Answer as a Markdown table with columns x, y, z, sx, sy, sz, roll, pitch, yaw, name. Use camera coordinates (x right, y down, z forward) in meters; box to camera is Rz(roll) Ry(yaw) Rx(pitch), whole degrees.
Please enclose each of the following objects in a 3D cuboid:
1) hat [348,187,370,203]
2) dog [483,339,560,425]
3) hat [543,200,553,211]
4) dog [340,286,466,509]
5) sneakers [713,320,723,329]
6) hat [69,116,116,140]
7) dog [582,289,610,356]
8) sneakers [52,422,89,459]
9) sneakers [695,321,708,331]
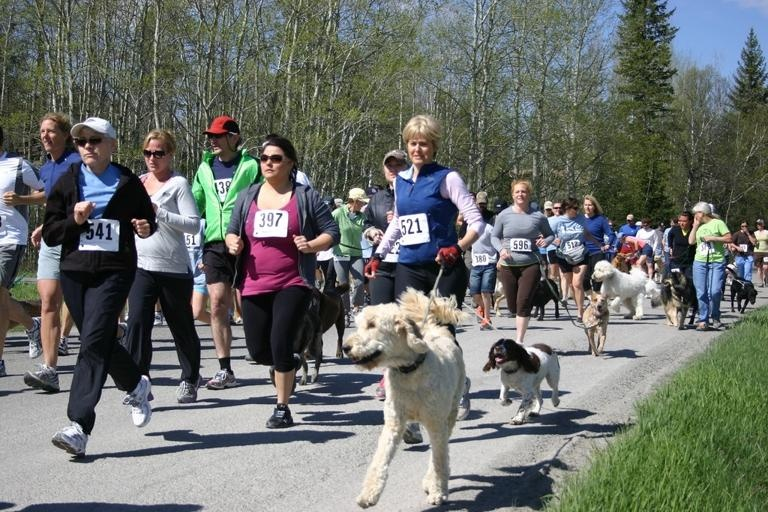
| x | y | z | sx | sy | sz | roll | pitch | yaw | name |
| --- | --- | --- | --- | --- | --- | --- | --- | --- | --- |
| -0.553 | -1.322 | 15.123 | 0.624 | 0.354 | 0.475 | 1 | 3 | 7 | hat |
| 1.726 | 1.491 | 8.377 | 0.607 | 1.010 | 1.465 | -3 | -4 | 41 | dog |
| 4.659 | -1.420 | 19.352 | 0.223 | 0.190 | 0.359 | -2 | 2 | 9 | hat |
| 0.241 | 1.229 | 6.038 | 0.734 | 1.735 | 1.398 | 2 | 5 | 26 | dog |
| 7.445 | 1.524 | 15.263 | 0.141 | 0.172 | 0.426 | -2 | -12 | 17 | sneakers |
| -2.953 | -1.300 | 6.977 | 0.410 | 0.226 | 0.344 | -2 | 5 | -22 | hat |
| 3.759 | 1.206 | 12.089 | 0.485 | 1.021 | 1.691 | 1 | -4 | 16 | dog |
| -2.978 | 1.735 | 6.529 | 0.196 | 0.288 | 0.408 | -14 | -38 | 0 | sneakers |
| 6.979 | 1.548 | 15.010 | 0.148 | 0.174 | 0.407 | -3 | -8 | 28 | sneakers |
